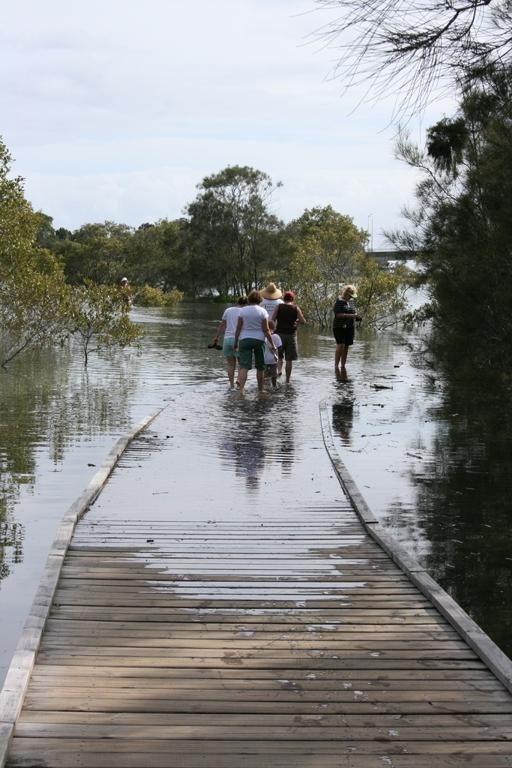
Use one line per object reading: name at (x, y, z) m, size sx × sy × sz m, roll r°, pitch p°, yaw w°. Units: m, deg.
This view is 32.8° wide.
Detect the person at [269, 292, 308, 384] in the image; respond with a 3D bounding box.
person at (0.611, -0.873, 16.147) m, size 0.632 × 1.764 × 0.545 m, roll 6°, pitch 15°, yaw 15°

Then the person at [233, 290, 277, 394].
person at (-0.010, -0.655, 13.823) m, size 0.641 × 1.616 × 0.873 m, roll 2°, pitch 6°, yaw -1°

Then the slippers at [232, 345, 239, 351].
slippers at (-0.344, -0.582, 14.396) m, size 0.071 × 0.127 × 0.072 m, roll 4°, pitch 31°, yaw 11°

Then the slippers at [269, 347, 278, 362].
slippers at (0.300, -0.492, 14.730) m, size 0.118 × 0.198 × 0.191 m, roll 4°, pitch 14°, yaw -26°
